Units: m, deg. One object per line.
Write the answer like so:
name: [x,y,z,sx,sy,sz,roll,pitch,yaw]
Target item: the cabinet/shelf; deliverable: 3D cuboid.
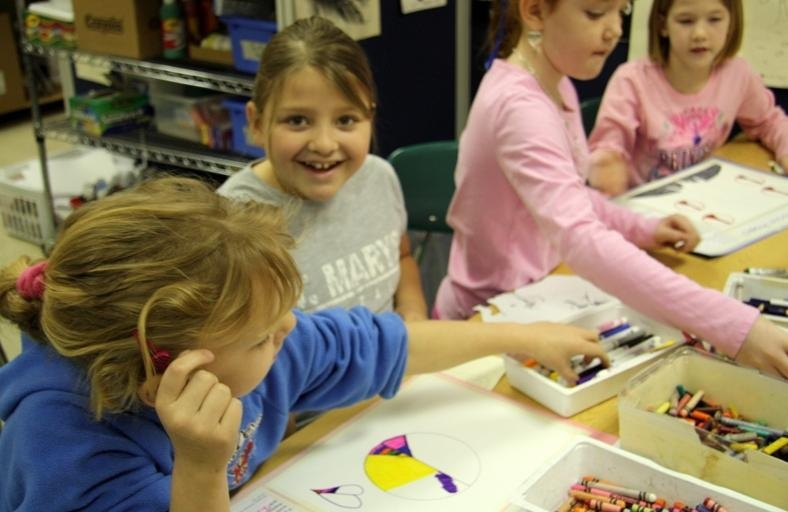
cabinet/shelf: [-0.839,-0.515,2.217,1.021,0.965,0.335,13,37,10]
